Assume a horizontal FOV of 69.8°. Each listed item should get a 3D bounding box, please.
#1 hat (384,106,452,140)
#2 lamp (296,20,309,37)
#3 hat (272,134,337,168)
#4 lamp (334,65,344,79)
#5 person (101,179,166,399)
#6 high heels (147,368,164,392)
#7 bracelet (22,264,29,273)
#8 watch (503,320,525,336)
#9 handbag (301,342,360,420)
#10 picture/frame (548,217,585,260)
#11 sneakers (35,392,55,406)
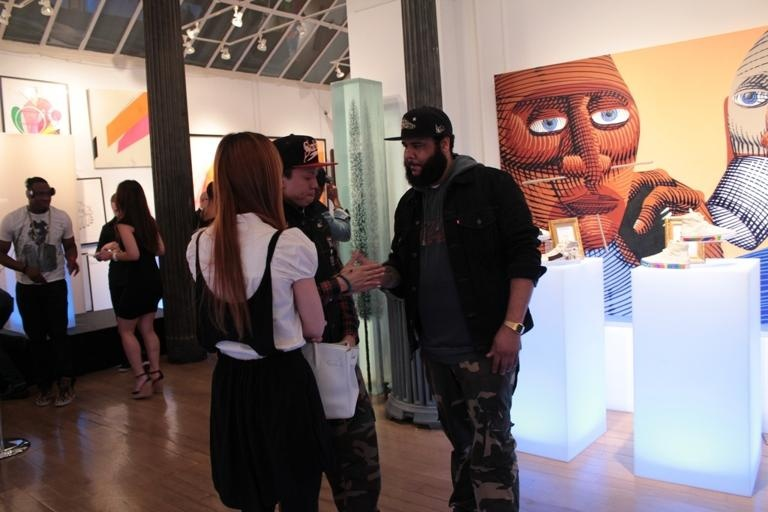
[{"bbox_3d":[0.217,-0.756,3.188,0.315,0.145,0.199,1,11,-3],"label":"hat"},{"bbox_3d":[-1.512,-4.176,10.158,0.127,0.150,0.157,-3,1,1],"label":"lamp"},{"bbox_3d":[-0.462,-0.579,3.065,0.273,0.138,0.161,-8,15,-4],"label":"hat"},{"bbox_3d":[-0.947,-3.803,11.380,0.193,0.205,0.190,-8,41,32],"label":"lamp"},{"bbox_3d":[-2.610,0.346,5.772,0.587,2.255,0.715,-12,14,-35],"label":"person"},{"bbox_3d":[-2.404,1.315,5.798,0.136,0.175,0.256,-3,8,-20],"label":"high heels"},{"bbox_3d":[-3.505,0.129,5.383,0.049,0.067,0.075,1,15,-32],"label":"bracelet"},{"bbox_3d":[0.722,0.392,3.027,0.112,0.062,0.105,7,-10,22],"label":"watch"},{"bbox_3d":[-0.283,0.632,2.775,0.415,0.407,0.189,-4,2,15],"label":"handbag"},{"bbox_3d":[1.461,-0.142,4.425,0.199,0.328,0.035,-10,25,12],"label":"picture/frame"},{"bbox_3d":[-3.496,1.472,5.668,0.143,0.100,0.150,6,14,40],"label":"sneakers"}]
